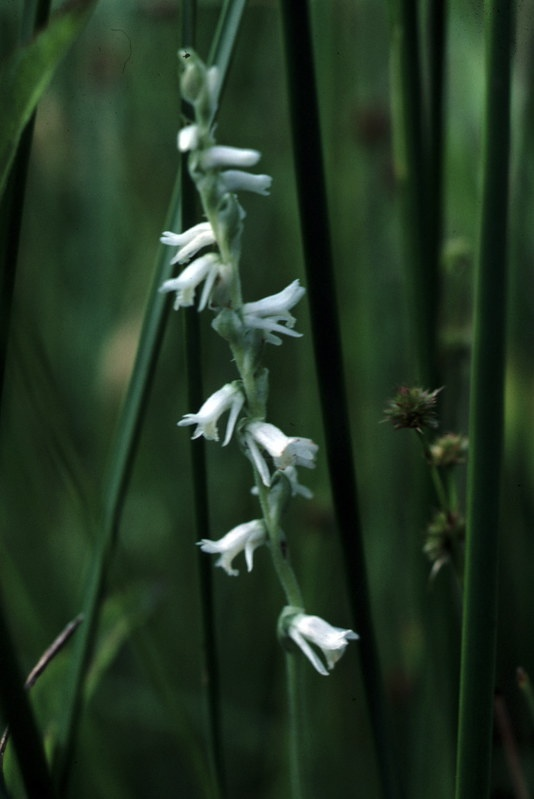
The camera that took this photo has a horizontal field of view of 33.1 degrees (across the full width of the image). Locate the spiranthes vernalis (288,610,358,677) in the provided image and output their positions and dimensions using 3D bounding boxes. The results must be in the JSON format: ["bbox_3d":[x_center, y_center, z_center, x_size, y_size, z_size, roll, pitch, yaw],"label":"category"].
[{"bbox_3d":[0.054,0.215,0.795,0.052,0.033,0.039,8,-28,-15],"label":"spiranthes vernalis"}]

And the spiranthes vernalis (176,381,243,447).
[{"bbox_3d":[-0.046,0.006,0.820,0.043,0.039,0.075,33,-74,20],"label":"spiranthes vernalis"}]

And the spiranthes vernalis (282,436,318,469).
[{"bbox_3d":[0.029,0.051,0.801,0.026,0.009,0.029,8,-85,-33],"label":"spiranthes vernalis"}]
